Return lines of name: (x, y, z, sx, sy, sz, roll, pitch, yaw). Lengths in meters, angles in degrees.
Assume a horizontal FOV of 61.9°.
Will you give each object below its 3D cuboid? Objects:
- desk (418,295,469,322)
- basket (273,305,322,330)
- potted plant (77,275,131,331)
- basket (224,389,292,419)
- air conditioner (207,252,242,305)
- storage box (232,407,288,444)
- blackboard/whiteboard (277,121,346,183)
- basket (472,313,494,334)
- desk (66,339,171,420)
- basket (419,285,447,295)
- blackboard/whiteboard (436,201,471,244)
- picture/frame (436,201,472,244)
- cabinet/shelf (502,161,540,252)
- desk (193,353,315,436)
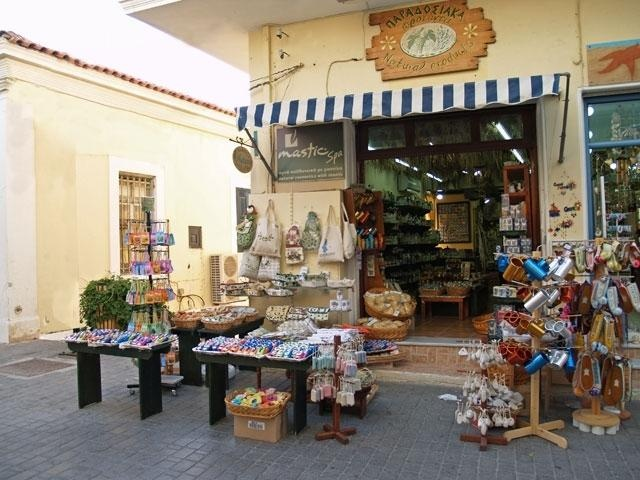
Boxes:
desk: (2.420, 1.278, 10.342, 0.870, 0.516, 1.105, 0, 7, 16)
basket: (-0.313, 1.170, 8.082, 0.489, 0.149, 0.356, 0, -2, 16)
potted plant: (-3.145, 0.950, 7.868, 0.805, 0.697, 0.290, -1, 7, 7)
basket: (-0.710, 1.846, 6.122, 0.479, 0.417, 0.455, -1, 0, 17)
air conditioner: (-2.554, 1.003, 14.284, 0.467, 1.262, 0.776, -3, 0, 28)
storage box: (-0.722, 2.106, 6.122, 0.518, 0.303, 0.367, 4, -9, 8)
blackboard/whiteboard: (-0.155, -1.419, 8.746, 1.241, 0.921, 0.027, -1, 1, 27)
basket: (2.542, 1.354, 8.377, 0.238, 0.311, 0.592, 1, 7, 18)
desk: (-2.583, 1.733, 6.843, 1.373, 0.831, 0.529, -1, -1, 26)
basket: (2.201, 0.986, 10.370, 0.509, 0.172, 0.360, 0, 7, 9)
blackboard/whiteboard: (3.669, -0.458, 14.410, 1.102, 1.352, 0.102, -3, -5, 30)
picture/frame: (3.676, -0.455, 14.407, 1.090, 1.339, 0.108, -3, -3, 41)
cabinet/shelf: (2.967, -0.512, 7.897, 0.468, 1.436, 0.428, 1, 3, 17)
desk: (-0.559, 1.880, 6.677, 1.895, 1.016, 1.046, -1, -1, 23)
